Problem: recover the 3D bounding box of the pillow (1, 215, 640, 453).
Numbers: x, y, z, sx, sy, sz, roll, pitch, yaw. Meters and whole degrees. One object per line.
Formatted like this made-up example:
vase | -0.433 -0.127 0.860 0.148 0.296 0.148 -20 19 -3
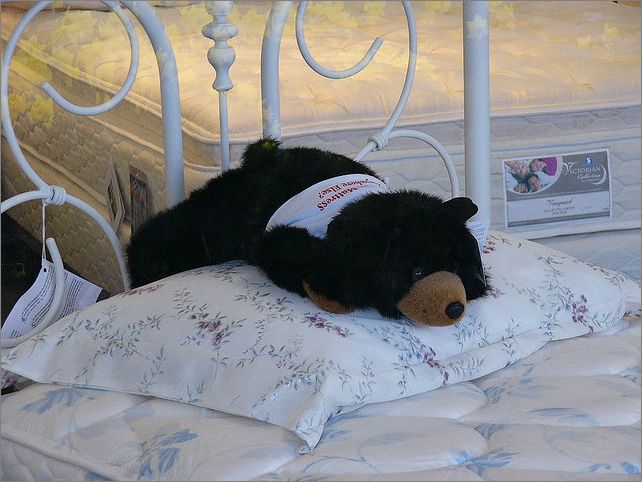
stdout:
pillow | 0.069 0.170 1.637 0.792 0.163 0.516 -17 15 -20
